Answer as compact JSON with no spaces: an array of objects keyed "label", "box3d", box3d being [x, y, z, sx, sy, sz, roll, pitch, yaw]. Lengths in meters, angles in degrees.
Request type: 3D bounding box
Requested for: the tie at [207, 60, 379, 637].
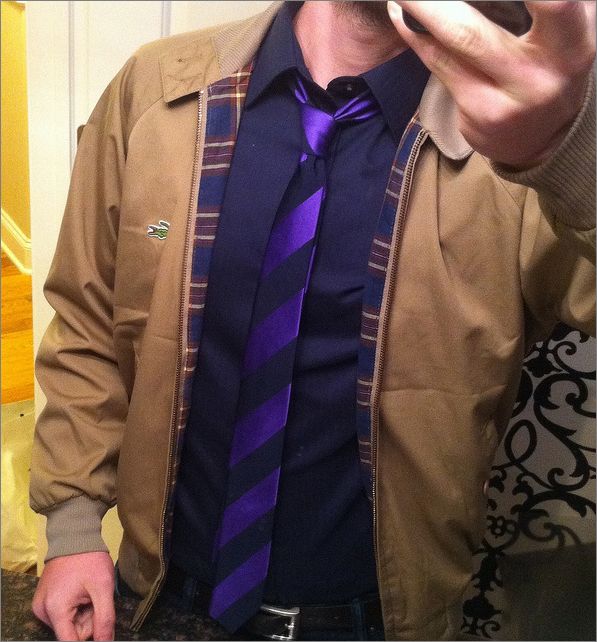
[{"label":"tie","box3d":[-0.036,0.052,0.900,0.104,0.725,0.273,7,21,14]}]
